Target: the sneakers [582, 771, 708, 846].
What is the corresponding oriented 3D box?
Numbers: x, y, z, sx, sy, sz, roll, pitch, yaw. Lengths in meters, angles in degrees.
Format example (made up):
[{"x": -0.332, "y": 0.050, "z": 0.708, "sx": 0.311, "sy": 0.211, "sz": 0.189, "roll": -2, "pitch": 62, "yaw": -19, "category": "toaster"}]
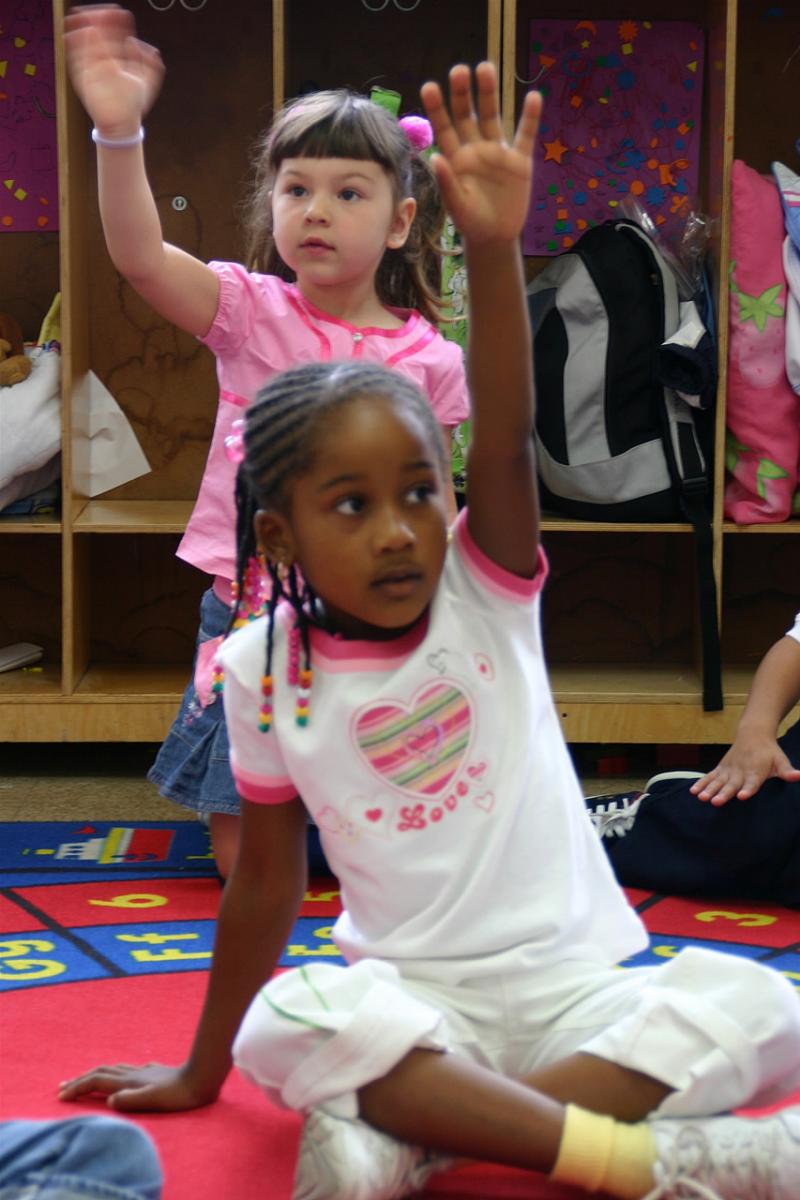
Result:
[{"x": 0.372, "y": 0.303, "z": 1.596, "sx": 0.166, "sy": 0.063, "sz": 0.120, "roll": -19, "pitch": 8, "yaw": -17, "category": "sneakers"}]
